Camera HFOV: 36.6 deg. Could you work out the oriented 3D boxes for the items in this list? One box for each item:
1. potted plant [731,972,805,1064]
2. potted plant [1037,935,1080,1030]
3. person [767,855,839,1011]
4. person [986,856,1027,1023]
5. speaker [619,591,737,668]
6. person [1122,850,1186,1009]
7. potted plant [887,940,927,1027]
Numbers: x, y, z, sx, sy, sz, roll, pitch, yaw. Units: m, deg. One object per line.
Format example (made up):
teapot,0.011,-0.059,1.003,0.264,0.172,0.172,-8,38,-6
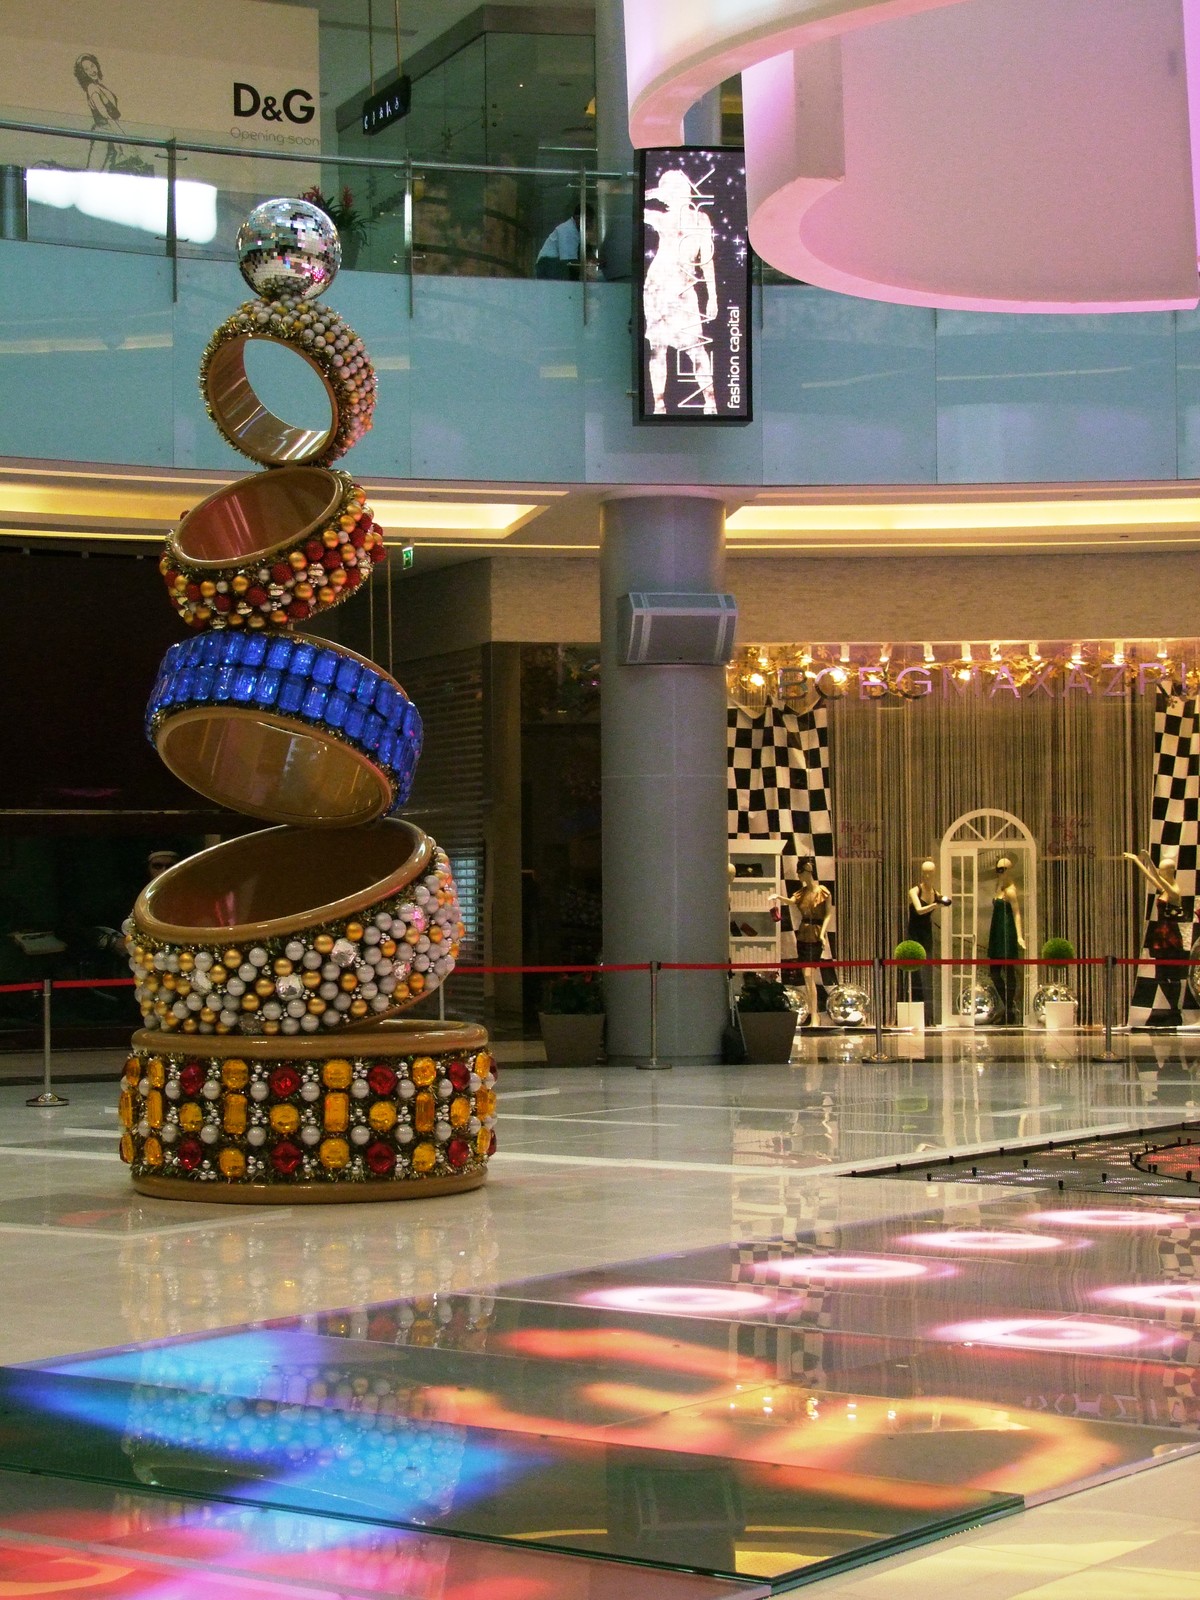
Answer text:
potted plant,1.124,1.510,12.308,0.666,0.600,0.542,-1,-6,-4
potted plant,3.579,1.474,14.224,0.324,0.610,1.022,-2,1,14
person,1.665,1.117,14.495,0.435,1.113,0.547,-2,1,5
person,3.294,1.164,14.767,0.295,1.123,0.325,-2,1,11
speaker,0.513,-1.138,12.179,0.810,0.465,0.541,0,-8,-10
person,4.483,1.139,14.553,0.438,1.108,0.617,-2,1,15
potted plant,2.468,1.489,14.322,0.277,0.611,1.040,-2,1,9
